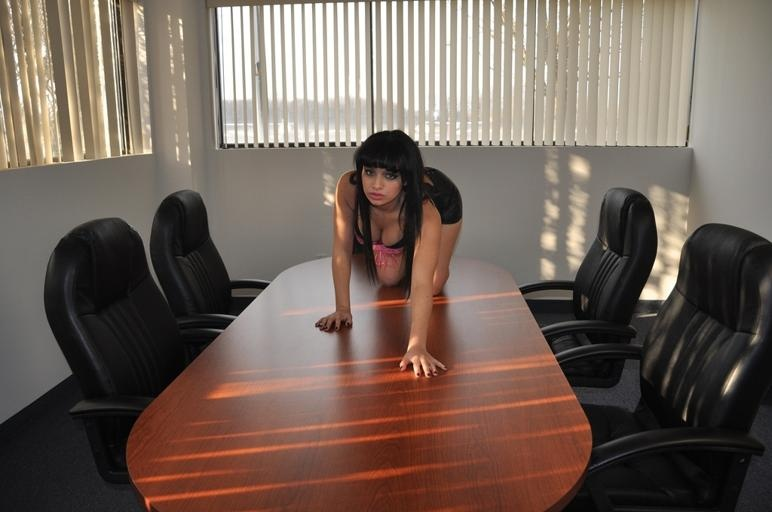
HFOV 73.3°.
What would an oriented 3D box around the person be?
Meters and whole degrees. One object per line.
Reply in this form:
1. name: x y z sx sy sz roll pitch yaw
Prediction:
1. person: 0.046 -0.156 2.949 0.653 0.920 1.341 7 32 9
